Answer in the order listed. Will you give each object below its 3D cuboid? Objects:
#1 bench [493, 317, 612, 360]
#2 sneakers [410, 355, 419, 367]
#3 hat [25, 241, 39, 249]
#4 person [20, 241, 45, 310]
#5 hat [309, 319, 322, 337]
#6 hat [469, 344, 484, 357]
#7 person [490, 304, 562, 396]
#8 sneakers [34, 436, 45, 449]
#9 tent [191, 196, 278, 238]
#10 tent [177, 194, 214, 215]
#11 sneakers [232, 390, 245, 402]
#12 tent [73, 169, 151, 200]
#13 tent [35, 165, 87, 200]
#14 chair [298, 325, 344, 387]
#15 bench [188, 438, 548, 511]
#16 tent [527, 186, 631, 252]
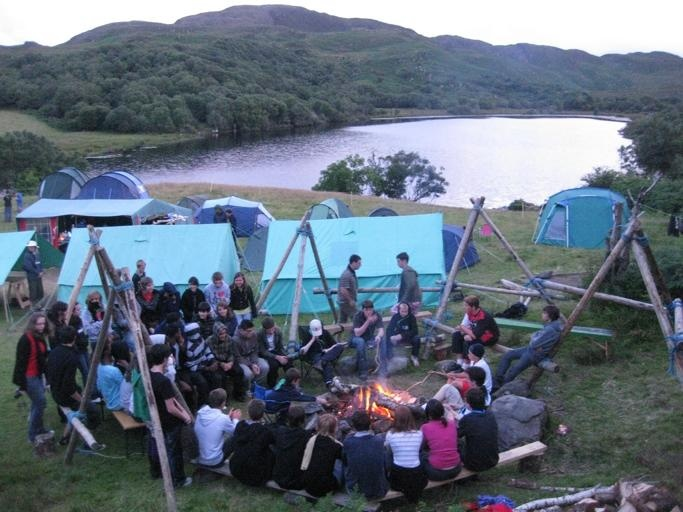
[{"bbox_3d":[4.762,1.847,14.218,2.824,0.325,0.661,9,-4,18],"label":"bench"},{"bbox_3d":[1.704,2.408,14.738,0.118,0.120,0.286,19,10,-31],"label":"sneakers"},{"bbox_3d":[-8.723,-0.326,17.967,0.270,0.145,0.346,1,8,-20],"label":"hat"},{"bbox_3d":[-8.714,0.467,18.015,0.489,1.811,0.750,-1,4,-24],"label":"person"},{"bbox_3d":[-0.561,1.578,14.179,0.275,0.328,0.327,-4,-3,-3],"label":"hat"},{"bbox_3d":[2.664,1.810,12.512,0.220,0.213,0.289,-23,14,47],"label":"hat"},{"bbox_3d":[3.920,1.890,13.312,1.358,1.754,0.644,1,3,14],"label":"person"},{"bbox_3d":[-5.599,3.413,11.795,0.190,0.190,0.179,0,-4,17],"label":"sneakers"},{"bbox_3d":[-4.354,-1.694,25.910,2.660,1.043,2.116,2,13,2],"label":"tent"},{"bbox_3d":[-6.730,-2.401,28.891,1.572,0.595,1.567,0,15,2],"label":"tent"},{"bbox_3d":[-2.230,2.947,13.544,0.339,0.241,0.129,7,12,31],"label":"sneakers"},{"bbox_3d":[-9.397,-2.881,26.146,2.588,1.127,1.332,-1,3,-29],"label":"tent"},{"bbox_3d":[-11.940,-3.044,27.615,1.457,0.790,2.133,7,26,-4],"label":"tent"},{"bbox_3d":[-0.468,2.075,14.207,0.817,1.168,0.940,0,-7,-14],"label":"chair"},{"bbox_3d":[0.344,3.678,10.765,5.828,0.251,0.929,3,18,1],"label":"bench"},{"bbox_3d":[9.081,-1.467,24.875,2.929,1.896,2.903,-1,5,10],"label":"tent"}]
